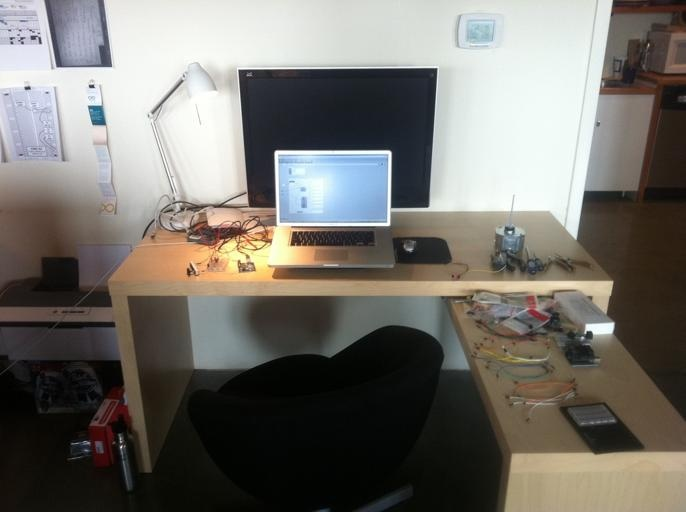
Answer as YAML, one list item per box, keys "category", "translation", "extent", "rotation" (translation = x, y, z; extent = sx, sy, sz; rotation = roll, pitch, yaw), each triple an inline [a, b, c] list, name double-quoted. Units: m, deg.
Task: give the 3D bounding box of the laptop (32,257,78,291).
- category: "laptop"
  translation: [-1.444, 0.086, 2.656]
  extent: [0.198, 0.175, 0.045]
  rotation: [4, -6, -5]

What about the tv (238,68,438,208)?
- category: "tv"
  translation: [-0.027, -0.562, 2.379]
  extent: [0.742, 0.529, 0.025]
  rotation: [-1, 28, -2]

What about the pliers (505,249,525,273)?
- category: "pliers"
  translation: [0.703, 0.017, 2.172]
  extent: [0.084, 0.082, 0.031]
  rotation: [-3, -23, 13]

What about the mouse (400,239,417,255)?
- category: "mouse"
  translation: [0.283, -0.042, 2.299]
  extent: [0.050, 0.021, 0.066]
  rotation: [-1, 34, 13]

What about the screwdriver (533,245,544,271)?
- category: "screwdriver"
  translation: [0.800, 0.011, 2.181]
  extent: [0.027, 0.033, 0.117]
  rotation: [0, 38, 12]

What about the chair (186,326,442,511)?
- category: "chair"
  translation: [-0.091, 0.525, 1.821]
  extent: [0.727, 0.426, 0.760]
  rotation: [7, 16, 21]

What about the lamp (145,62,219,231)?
- category: "lamp"
  translation: [-0.752, -0.488, 2.448]
  extent: [0.376, 0.773, 0.279]
  rotation: [-5, 23, -12]
